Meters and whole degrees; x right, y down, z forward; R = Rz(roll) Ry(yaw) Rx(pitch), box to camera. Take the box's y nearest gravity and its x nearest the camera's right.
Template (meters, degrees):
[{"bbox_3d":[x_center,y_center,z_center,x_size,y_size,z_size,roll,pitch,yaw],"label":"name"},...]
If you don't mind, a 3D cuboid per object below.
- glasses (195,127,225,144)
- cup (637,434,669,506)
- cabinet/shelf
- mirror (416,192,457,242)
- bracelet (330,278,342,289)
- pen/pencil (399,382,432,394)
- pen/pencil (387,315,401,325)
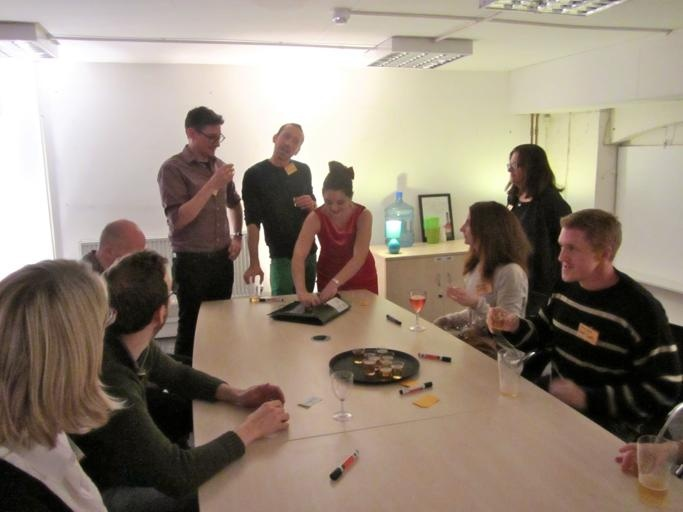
[{"bbox_3d":[-0.844,-0.788,3.434,0.115,0.086,0.231,1,9,19],"label":"glasses"},{"bbox_3d":[0.937,0.632,1.554,0.085,0.183,0.108,4,11,34],"label":"cup"},{"bbox_3d":[0.674,0.212,4.442,0.709,0.635,0.269,-6,12,-22],"label":"cabinet/shelf"},{"bbox_3d":[0.994,-0.421,5.537,0.466,0.723,0.046,-6,2,-30],"label":"mirror"},{"bbox_3d":[-0.026,0.163,3.136,0.044,0.066,0.065,-32,58,-12],"label":"bracelet"},{"bbox_3d":[0.302,0.536,2.094,0.109,0.020,0.021,-7,7,-33],"label":"pen/pencil"},{"bbox_3d":[0.295,0.345,2.837,0.027,0.026,0.116,-6,15,-18],"label":"pen/pencil"}]
